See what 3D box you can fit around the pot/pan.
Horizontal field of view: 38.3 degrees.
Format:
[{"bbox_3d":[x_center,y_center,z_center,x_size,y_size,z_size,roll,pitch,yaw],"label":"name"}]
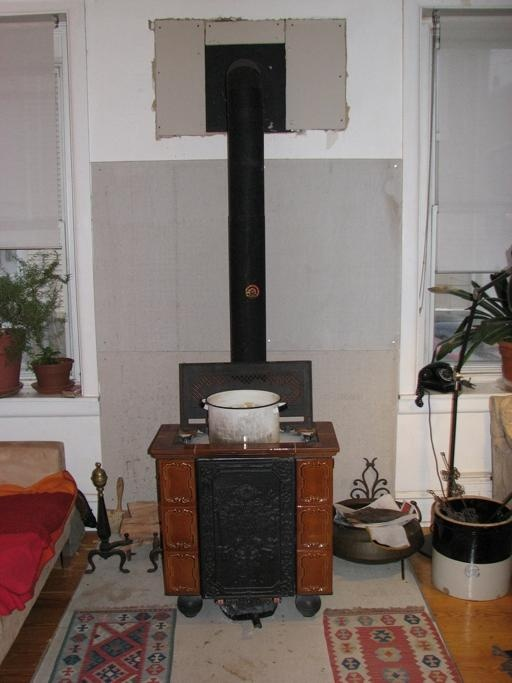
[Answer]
[{"bbox_3d":[-0.049,0.285,2.758,0.280,0.148,0.229,-4,14,-15],"label":"pot/pan"}]
